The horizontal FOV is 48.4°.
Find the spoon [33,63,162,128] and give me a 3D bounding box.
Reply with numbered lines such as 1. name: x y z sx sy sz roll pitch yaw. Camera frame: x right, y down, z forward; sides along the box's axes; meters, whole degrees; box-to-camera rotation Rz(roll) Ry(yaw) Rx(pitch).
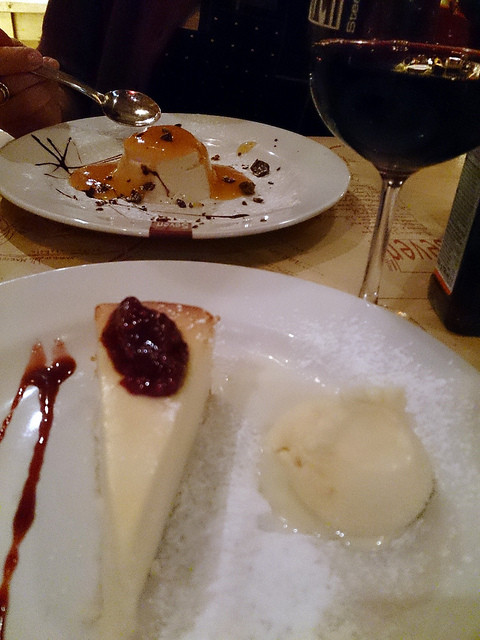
1. spoon: -0.285 -0.427 0.981 0.029 0.046 0.227 33 19 9

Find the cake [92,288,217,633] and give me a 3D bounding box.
1. cake: -0.044 0.071 0.330 0.067 0.052 0.195 4 37 -3

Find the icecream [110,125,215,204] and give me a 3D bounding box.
1. icecream: -0.135 -0.264 0.896 0.184 0.100 0.179 -13 35 -25
